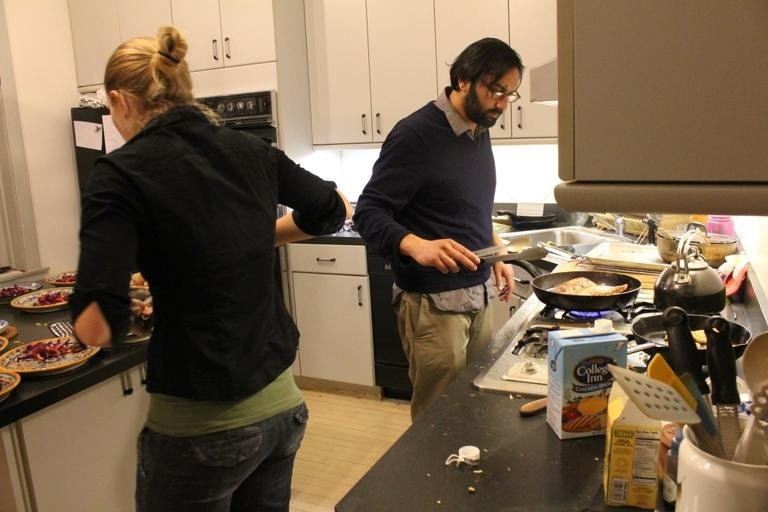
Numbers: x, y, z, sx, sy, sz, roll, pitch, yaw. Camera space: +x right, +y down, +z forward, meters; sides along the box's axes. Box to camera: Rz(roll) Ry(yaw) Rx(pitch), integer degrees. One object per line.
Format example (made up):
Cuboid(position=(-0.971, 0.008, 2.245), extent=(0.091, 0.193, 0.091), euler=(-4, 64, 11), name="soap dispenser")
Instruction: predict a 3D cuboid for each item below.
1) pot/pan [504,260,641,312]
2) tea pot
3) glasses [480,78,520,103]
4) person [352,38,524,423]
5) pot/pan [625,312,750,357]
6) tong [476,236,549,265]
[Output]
Cuboid(position=(0.759, 0.135, 2.098), extent=(0.361, 0.095, 0.436), euler=(6, 13, 43), name="pot/pan")
Cuboid(position=(1.024, 0.053, 1.864), extent=(0.193, 0.270, 0.141), euler=(-4, 10, -6), name="tea pot")
Cuboid(position=(0.450, -0.637, 2.175), extent=(0.101, 0.030, 0.105), euler=(46, 29, 24), name="glasses")
Cuboid(position=(0.297, -0.062, 2.253), extent=(0.705, 1.556, 0.496), euler=(-10, 12, -35), name="person")
Cuboid(position=(0.721, 0.192, 1.347), extent=(0.172, 0.029, 0.164), euler=(-2, 10, -2), name="pot/pan")
Cuboid(position=(0.497, -0.003, 1.985), extent=(0.338, 0.086, 0.096), euler=(-4, 46, 7), name="tong")
